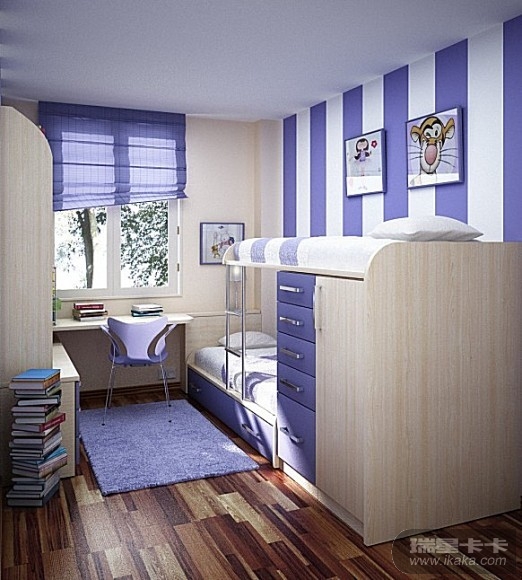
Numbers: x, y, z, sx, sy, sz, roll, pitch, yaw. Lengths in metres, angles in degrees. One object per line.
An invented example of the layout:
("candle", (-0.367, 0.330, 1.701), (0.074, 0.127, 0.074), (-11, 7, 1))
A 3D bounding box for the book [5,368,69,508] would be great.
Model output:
("book", (-1.104, 0.729, 2.477), (0.188, 0.637, 0.284), (1, 3, 16))

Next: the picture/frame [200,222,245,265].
("picture/frame", (-0.365, -0.410, 4.385), (0.440, 0.407, 0.032), (-1, 2, -37))

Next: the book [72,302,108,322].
("book", (-1.425, 0.169, 4.074), (0.181, 0.112, 0.182), (0, 0, -36))

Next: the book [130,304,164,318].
("book", (-1.000, 0.177, 4.264), (0.299, 0.099, 0.201), (0, 3, 4))
